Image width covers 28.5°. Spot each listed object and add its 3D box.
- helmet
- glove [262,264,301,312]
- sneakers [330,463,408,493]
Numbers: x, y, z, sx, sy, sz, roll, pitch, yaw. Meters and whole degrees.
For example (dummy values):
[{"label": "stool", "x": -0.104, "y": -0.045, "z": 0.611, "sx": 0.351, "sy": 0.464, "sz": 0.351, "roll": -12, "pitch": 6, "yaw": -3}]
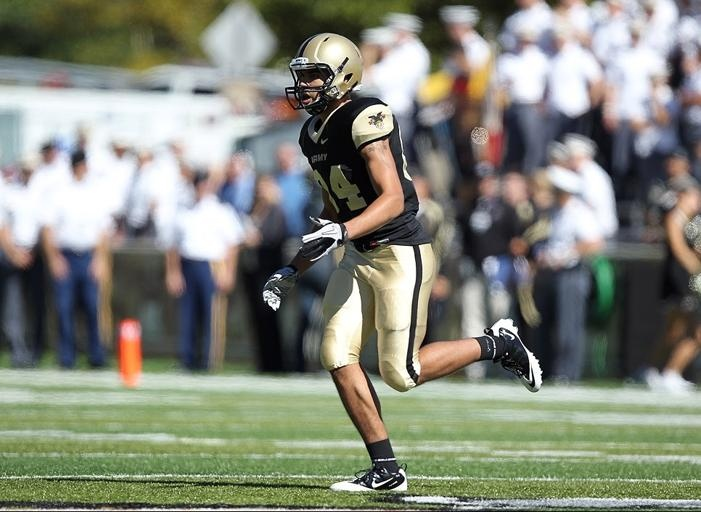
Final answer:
[{"label": "helmet", "x": -0.143, "y": -1.121, "z": 8.391, "sx": 0.409, "sy": 0.413, "sz": 0.533, "roll": 3, "pitch": 8, "yaw": 45}, {"label": "glove", "x": -0.431, "y": 0.174, "z": 8.195, "sx": 0.172, "sy": 0.078, "sz": 0.298, "roll": 20, "pitch": 39, "yaw": 20}, {"label": "sneakers", "x": 0.128, "y": 1.301, "z": 8.160, "sx": 0.498, "sy": 0.182, "sz": 0.168, "roll": 3, "pitch": -8, "yaw": -4}]
